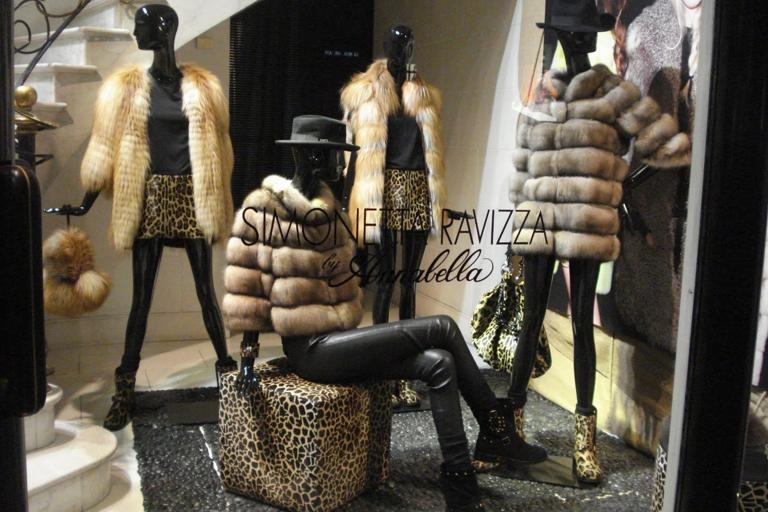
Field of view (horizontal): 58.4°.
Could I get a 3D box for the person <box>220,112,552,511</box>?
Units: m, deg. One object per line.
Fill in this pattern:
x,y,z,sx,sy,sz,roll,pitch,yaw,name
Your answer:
0.116,0.160,3.018,1.303,1.622,1.038,0,4,11,person

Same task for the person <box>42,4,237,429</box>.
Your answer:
-0.967,-0.145,2.953,0.622,1.777,0.151,-2,9,-18,person

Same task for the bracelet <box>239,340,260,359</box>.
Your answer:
-0.480,0.333,2.457,0.052,0.057,0.073,2,3,-1,bracelet

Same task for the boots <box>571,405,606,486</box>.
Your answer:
0.797,0.750,2.676,0.112,0.252,0.264,-1,3,10,boots

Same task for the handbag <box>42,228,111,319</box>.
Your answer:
-1.276,0.071,2.852,0.251,0.362,0.150,-3,10,-25,handbag

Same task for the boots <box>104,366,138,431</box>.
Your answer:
-1.163,0.626,3.018,0.098,0.199,0.291,-1,8,-8,boots
